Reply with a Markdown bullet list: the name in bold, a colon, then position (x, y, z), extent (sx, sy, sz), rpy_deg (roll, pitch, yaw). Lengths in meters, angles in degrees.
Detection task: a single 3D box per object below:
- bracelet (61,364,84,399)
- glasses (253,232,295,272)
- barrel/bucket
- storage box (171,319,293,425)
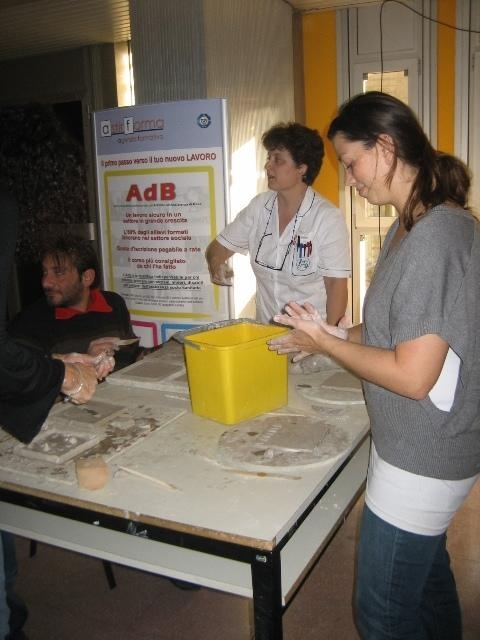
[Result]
- **bracelet**: position (-0.411, 0.151, 1.355), extent (0.063, 0.063, 0.076), rpy_deg (5, 22, 7)
- **glasses**: position (0.141, -0.302, 2.426), extent (0.167, 0.160, 0.045), rpy_deg (21, 19, 32)
- **barrel/bucket**: position (-0.018, 0.142, 1.552), extent (0.302, 0.207, 0.245), rpy_deg (-12, 14, -37)
- **storage box**: position (-0.006, 0.145, 1.535), extent (0.322, 0.219, 0.220), rpy_deg (-10, 13, -37)
